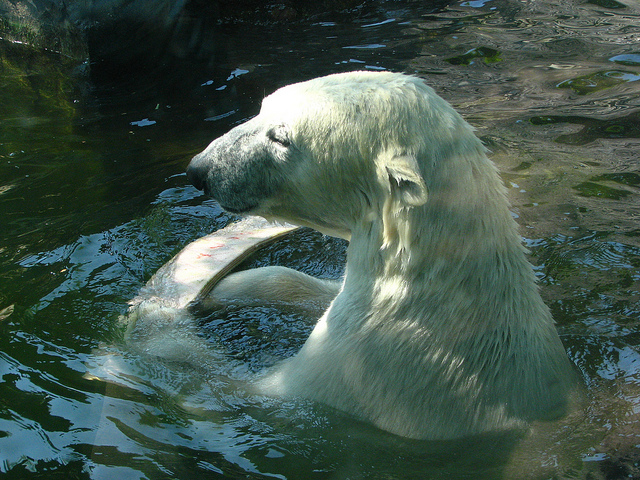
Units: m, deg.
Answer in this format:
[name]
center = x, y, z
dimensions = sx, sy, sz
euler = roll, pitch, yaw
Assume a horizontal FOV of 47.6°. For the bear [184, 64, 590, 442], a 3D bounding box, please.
[bear]
center = 0.519, 0.067, 4.212
dimensions = 1.633, 1.924, 2.092
euler = -13, 40, -19
